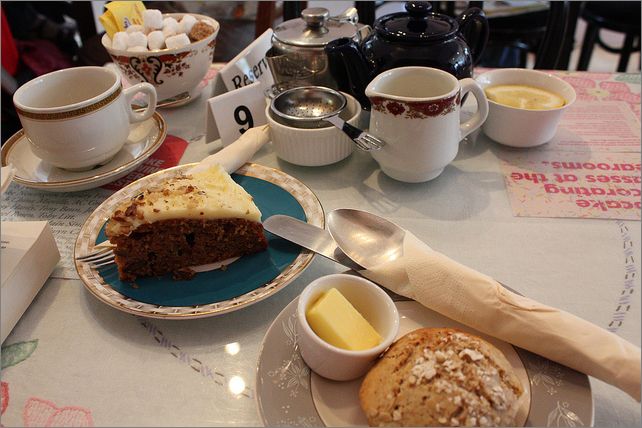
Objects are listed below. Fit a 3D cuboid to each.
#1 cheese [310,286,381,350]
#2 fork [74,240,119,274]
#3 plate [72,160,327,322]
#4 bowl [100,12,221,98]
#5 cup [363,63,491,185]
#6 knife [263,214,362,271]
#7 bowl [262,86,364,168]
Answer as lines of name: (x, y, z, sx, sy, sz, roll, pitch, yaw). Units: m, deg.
cheese: (0.046, 0.206, 0.934, 0.094, 0.033, 0.133, -29, 70, -38)
fork: (-0.487, 0.092, 1.080, 0.061, 0.058, 0.071, 1, 18, 0)
plate: (-0.298, 0.009, 1.165, 0.476, 0.348, 0.447, -12, 24, -21)
bowl: (-0.519, -0.489, 1.589, 0.351, 0.258, 0.230, -22, 32, -28)
cup: (0.272, -0.251, 1.300, 0.281, 0.287, 0.270, 2, 24, -1)
knife: (0.001, 0.025, 1.128, 0.204, 0.107, 0.191, -18, 26, -38)
bowl: (-0.010, -0.261, 1.368, 0.253, 0.177, 0.198, 2, 27, 8)
